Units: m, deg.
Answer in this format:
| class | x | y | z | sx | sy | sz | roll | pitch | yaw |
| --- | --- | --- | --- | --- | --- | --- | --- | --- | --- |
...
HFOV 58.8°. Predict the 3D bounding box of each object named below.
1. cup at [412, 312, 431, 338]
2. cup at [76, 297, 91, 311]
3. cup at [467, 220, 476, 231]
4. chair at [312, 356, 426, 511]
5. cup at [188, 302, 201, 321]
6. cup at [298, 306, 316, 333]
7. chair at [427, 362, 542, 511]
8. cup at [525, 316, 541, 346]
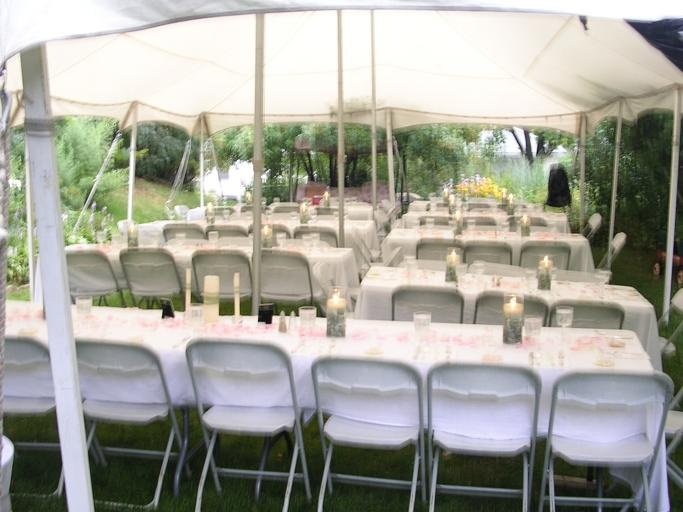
| class | x | y | z | sx | sy | sz | roll | pitch | yaw |
| --- | --- | --- | --- | --- | --- | --- | --- | --- | --- |
| cup | 0.448 | 0.403 | 3.560 | 0.115 | 0.208 | 0.122 | 0 | 11 | 0 |
| cup | -1.679 | 0.294 | 3.953 | 0.087 | 0.082 | 0.092 | 6 | 15 | -2 |
| cup | 1.527 | -0.374 | 7.051 | 0.122 | 0.156 | 0.130 | 1 | 7 | 0 |
| chair | 0.153 | 0.960 | 3.279 | 0.591 | 1.048 | 0.604 | 2 | 23 | 9 |
| cup | -0.914 | 0.351 | 3.776 | 0.082 | 0.109 | 0.086 | 2 | 4 | 0 |
| cup | -0.206 | 0.382 | 3.724 | 0.124 | 0.218 | 0.130 | 2 | 4 | 0 |
| chair | 0.727 | 0.834 | 3.296 | 0.562 | 1.060 | 0.758 | 0 | 12 | 8 |
| cup | 1.131 | 0.436 | 3.600 | 0.114 | 0.155 | 0.145 | 0 | 2 | 1 |
